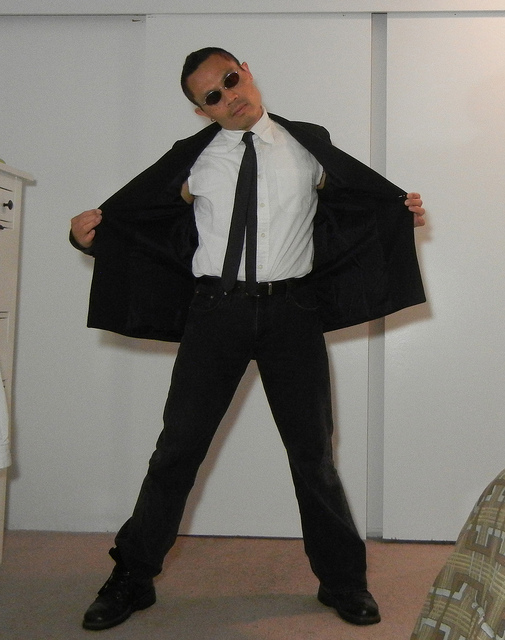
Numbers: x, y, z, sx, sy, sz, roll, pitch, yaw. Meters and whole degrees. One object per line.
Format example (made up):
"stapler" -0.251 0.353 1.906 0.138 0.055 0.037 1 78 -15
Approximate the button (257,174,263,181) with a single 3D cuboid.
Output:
"button" 0.018 -0.386 1.895 0.021 0.016 0.004 -3 -9 3

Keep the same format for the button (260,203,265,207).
"button" 0.024 -0.308 1.877 0.014 0.011 0.003 0 -4 -3

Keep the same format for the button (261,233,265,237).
"button" 0.026 -0.227 1.869 0.011 0.009 0.002 -2 9 3

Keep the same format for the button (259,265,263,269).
"button" 0.020 -0.141 1.863 0.012 0.010 0.002 -1 3 2

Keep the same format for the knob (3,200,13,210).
"knob" -0.812 -0.381 2.310 0.011 0.029 0.046 9 5 5

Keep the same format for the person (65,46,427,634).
"person" -0.047 0.054 1.973 0.966 1.576 0.499 7 5 -14
